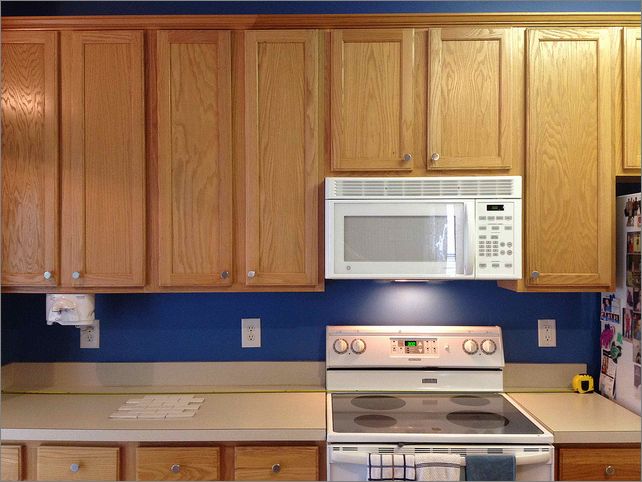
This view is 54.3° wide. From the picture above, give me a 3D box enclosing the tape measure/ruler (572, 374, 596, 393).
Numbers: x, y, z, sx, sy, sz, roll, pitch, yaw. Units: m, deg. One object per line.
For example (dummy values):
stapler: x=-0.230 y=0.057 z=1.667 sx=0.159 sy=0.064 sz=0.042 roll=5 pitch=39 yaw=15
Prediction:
tape measure/ruler: x=1.377 y=0.740 z=3.262 sx=0.095 sy=0.103 sz=0.086 roll=0 pitch=-6 yaw=11
